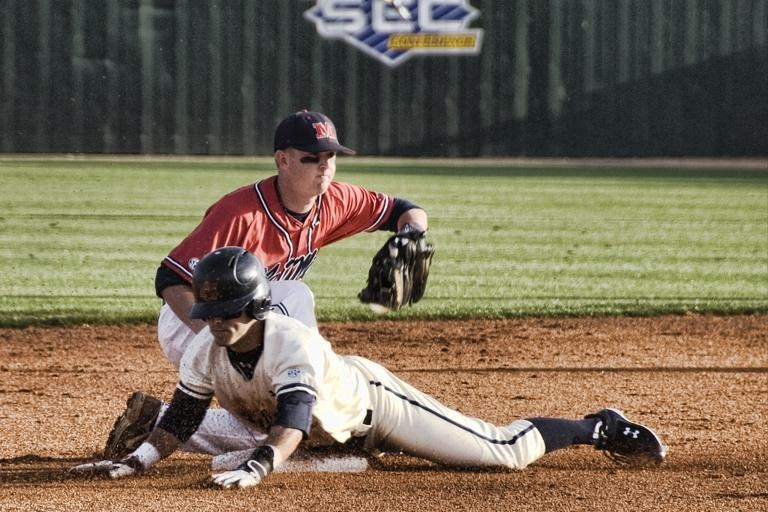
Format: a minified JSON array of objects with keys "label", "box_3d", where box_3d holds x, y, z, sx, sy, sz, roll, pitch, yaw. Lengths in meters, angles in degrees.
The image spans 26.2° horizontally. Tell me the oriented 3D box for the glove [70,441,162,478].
[{"label":"glove","box_3d":[-3.583,2.897,22.845,1.348,0.574,0.487,4,0,1]}]
